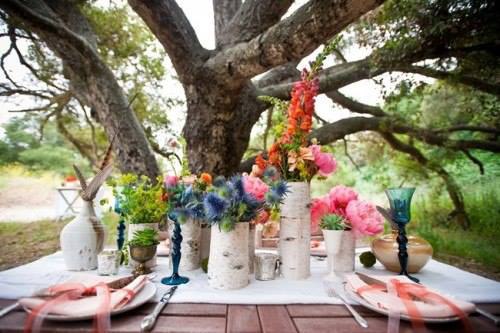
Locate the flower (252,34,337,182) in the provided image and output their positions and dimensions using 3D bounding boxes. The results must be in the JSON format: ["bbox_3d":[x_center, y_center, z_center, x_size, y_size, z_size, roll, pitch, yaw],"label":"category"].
[{"bbox_3d":[0.346,-0.427,2.611,0.674,1.138,0.367,-1,-11,11],"label":"flower"}]

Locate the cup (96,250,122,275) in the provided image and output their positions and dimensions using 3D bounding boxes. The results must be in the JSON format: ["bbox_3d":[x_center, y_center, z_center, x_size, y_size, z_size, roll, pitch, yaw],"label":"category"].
[{"bbox_3d":[-1.025,0.700,2.524,0.151,0.130,0.170,1,-12,1],"label":"cup"}]

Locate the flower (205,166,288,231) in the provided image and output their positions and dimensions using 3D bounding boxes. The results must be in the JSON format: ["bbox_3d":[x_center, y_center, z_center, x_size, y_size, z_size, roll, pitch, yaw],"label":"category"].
[{"bbox_3d":[-0.080,0.222,2.438,0.514,0.443,0.453,-8,-8,-21],"label":"flower"}]

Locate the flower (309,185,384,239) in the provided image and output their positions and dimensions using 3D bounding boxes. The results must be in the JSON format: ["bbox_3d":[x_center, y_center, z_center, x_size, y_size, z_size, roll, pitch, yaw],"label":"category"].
[{"bbox_3d":[0.724,0.345,2.574,0.442,0.285,0.406,-1,-3,10],"label":"flower"}]

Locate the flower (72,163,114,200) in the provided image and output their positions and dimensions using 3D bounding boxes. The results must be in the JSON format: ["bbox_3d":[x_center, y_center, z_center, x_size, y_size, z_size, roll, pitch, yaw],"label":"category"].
[{"bbox_3d":[-1.225,0.120,2.635,0.256,0.300,0.305,9,-14,-33],"label":"flower"}]

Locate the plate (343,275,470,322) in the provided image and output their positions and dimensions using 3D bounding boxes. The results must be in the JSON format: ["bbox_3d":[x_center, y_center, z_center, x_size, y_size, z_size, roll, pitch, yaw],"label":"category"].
[{"bbox_3d":[1.001,0.847,2.233,0.737,0.249,0.310,2,-12,-2],"label":"plate"}]

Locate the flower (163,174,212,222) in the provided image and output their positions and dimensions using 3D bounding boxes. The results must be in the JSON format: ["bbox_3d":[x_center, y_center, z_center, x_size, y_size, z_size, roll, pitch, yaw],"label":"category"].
[{"bbox_3d":[-0.448,0.191,2.465,0.364,0.364,0.318,1,2,1],"label":"flower"}]

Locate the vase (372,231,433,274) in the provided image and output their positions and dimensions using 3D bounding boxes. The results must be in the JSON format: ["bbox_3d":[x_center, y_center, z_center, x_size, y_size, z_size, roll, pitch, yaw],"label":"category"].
[{"bbox_3d":[1.144,0.663,2.623,0.356,0.236,0.355,3,-15,-14],"label":"vase"}]

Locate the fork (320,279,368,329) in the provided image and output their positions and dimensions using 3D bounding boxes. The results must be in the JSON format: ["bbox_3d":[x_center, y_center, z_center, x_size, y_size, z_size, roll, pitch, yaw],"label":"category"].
[{"bbox_3d":[0.598,0.874,2.287,0.080,0.063,0.544,15,13,-17],"label":"fork"}]

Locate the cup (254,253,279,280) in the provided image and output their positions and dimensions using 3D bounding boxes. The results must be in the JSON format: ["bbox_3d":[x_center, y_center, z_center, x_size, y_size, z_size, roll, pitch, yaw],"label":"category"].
[{"bbox_3d":[0.114,0.727,2.446,0.144,0.134,0.178,-1,-12,10],"label":"cup"}]

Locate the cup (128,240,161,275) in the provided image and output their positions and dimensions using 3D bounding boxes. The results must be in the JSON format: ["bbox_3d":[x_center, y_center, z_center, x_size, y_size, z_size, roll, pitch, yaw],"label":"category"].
[{"bbox_3d":[-0.769,0.656,2.463,0.223,0.224,0.219,0,-8,0],"label":"cup"}]

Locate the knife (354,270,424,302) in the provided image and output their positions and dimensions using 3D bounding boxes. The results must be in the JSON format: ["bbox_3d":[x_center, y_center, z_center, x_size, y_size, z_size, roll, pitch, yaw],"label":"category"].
[{"bbox_3d":[0.881,0.774,2.240,0.139,0.041,0.523,-3,-5,-10],"label":"knife"}]

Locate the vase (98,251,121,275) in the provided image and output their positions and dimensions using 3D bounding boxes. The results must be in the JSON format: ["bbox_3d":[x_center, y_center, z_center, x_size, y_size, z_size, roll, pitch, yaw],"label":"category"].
[{"bbox_3d":[-1.010,0.695,2.445,0.142,0.123,0.161,2,-11,-2],"label":"vase"}]
